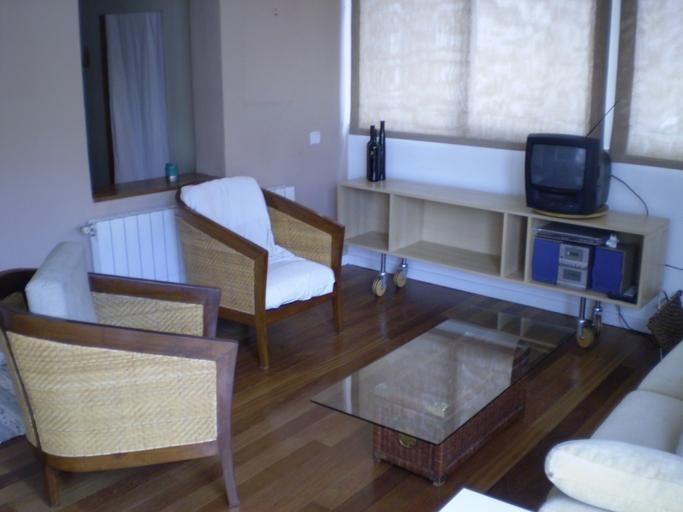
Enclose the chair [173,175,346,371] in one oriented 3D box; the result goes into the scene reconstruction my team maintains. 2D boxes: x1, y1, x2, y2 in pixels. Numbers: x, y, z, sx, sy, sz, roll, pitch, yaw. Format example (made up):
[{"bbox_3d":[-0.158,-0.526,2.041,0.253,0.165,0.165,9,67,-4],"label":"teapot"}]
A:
[{"bbox_3d":[-0.549,-0.028,3.987,1.249,1.276,0.989,16,23,39],"label":"chair"}]
